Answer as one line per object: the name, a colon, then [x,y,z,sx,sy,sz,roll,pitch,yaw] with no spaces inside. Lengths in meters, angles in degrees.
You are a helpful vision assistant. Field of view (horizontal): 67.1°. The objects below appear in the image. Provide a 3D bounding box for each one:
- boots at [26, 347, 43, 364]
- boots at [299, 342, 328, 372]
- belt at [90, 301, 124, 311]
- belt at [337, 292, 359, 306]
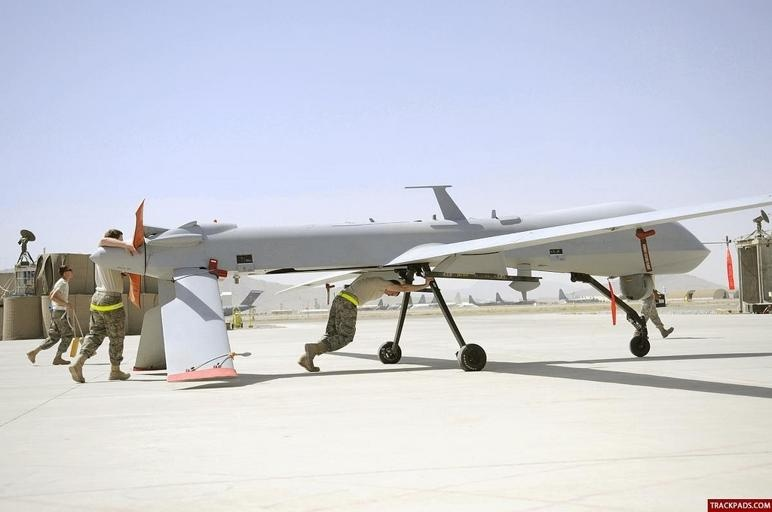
boots: [-7.856,2.215,12.944,0.243,0.372,1.124,-2,-3,-30]
boots: [-1.315,1.802,10.268,0.484,0.546,0.366,-3,-3,-9]
belt: [-4.868,0.886,10.043,0.529,0.156,0.272,-2,-3,-12]
belt: [-0.661,0.764,10.476,0.306,0.110,0.262,34,-4,-20]
